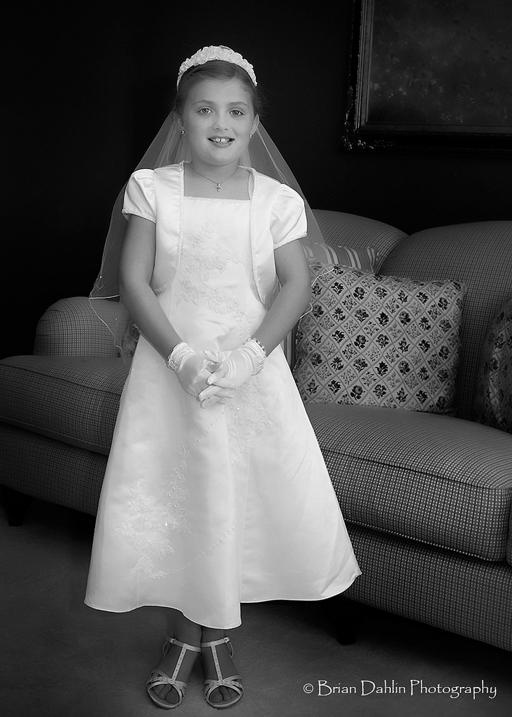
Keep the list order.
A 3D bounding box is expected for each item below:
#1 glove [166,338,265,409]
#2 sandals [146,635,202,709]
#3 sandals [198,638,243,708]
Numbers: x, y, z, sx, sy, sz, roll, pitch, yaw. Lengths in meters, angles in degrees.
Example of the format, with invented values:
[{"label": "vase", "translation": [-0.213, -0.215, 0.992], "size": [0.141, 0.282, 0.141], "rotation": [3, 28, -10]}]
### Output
[{"label": "glove", "translation": [-0.060, 0.018, 0.900], "size": [0.124, 0.058, 0.091], "rotation": [-32, 79, -21]}, {"label": "sandals", "translation": [-0.145, 0.549, 1.008], "size": [0.049, 0.058, 0.139], "rotation": [22, 14, -1]}, {"label": "sandals", "translation": [-0.059, 0.557, 0.987], "size": [0.047, 0.058, 0.138], "rotation": [-4, -6, -9]}]
